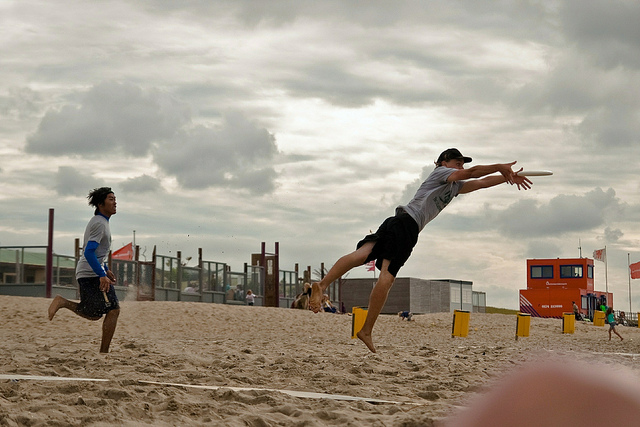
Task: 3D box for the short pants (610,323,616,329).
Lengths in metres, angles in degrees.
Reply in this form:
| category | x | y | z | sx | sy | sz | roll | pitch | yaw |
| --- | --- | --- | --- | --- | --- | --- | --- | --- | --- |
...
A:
| category | x | y | z | sx | sy | sz | roll | pitch | yaw |
| --- | --- | --- | --- | --- | --- | --- | --- | --- | --- |
| short pants | 8.475 | 3.294 | 22.358 | 0.176 | 0.089 | 0.232 | -11 | -8 | 14 |

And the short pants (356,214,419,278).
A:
| category | x | y | z | sx | sy | sz | roll | pitch | yaw |
| --- | --- | --- | --- | --- | --- | --- | --- | --- | --- |
| short pants | 0.808 | 0.374 | 8.863 | 0.521 | 0.706 | 0.415 | 23 | -23 | 42 |

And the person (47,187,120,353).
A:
| category | x | y | z | sx | sy | sz | roll | pitch | yaw |
| --- | --- | --- | --- | --- | --- | --- | --- | --- | --- |
| person | -3.017 | 0.767 | 10.135 | 0.813 | 2.193 | 1.384 | 5 | -5 | -14 |

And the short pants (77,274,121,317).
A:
| category | x | y | z | sx | sy | sz | roll | pitch | yaw |
| --- | --- | --- | --- | --- | --- | --- | --- | --- | --- |
| short pants | -2.879 | 1.077 | 10.367 | 0.518 | 0.722 | 0.667 | -3 | -1 | 0 |

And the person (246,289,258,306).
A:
| category | x | y | z | sx | sy | sz | roll | pitch | yaw |
| --- | --- | --- | --- | --- | --- | --- | --- | --- | --- |
| person | -3.049 | 3.683 | 33.611 | 0.374 | 0.640 | 1.311 | 4 | -5 | -5 |

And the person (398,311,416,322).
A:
| category | x | y | z | sx | sy | sz | roll | pitch | yaw |
| --- | --- | --- | --- | --- | --- | --- | --- | --- | --- |
| person | 3.690 | 4.259 | 31.706 | 1.094 | 0.476 | 0.374 | 12 | -16 | -33 |
